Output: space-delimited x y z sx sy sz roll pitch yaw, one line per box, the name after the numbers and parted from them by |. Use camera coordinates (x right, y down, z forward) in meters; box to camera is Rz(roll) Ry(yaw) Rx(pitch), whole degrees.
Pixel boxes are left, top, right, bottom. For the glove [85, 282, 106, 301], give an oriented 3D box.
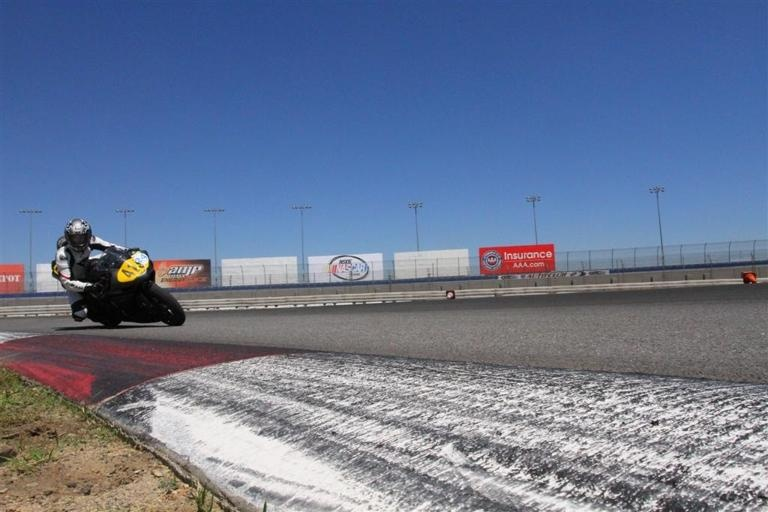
-4.853 0.580 9.904 0.414 0.268 0.106 -2 -1 22 | glove

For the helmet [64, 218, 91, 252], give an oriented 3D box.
-5.281 -0.367 10.127 0.393 0.525 0.416 -1 -1 -30 | helmet

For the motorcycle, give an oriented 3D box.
-4.369 0.549 10.199 1.508 1.368 1.050 -1 -1 -26 | motorcycle
